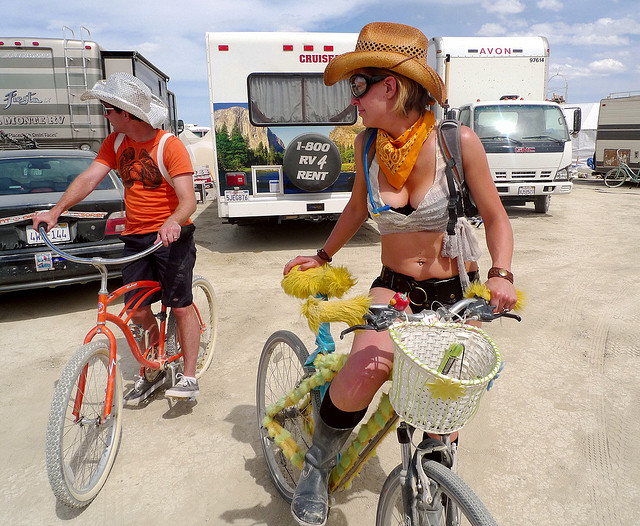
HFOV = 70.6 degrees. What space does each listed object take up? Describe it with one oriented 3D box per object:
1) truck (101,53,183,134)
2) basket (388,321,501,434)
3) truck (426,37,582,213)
[{"bbox_3d":[-4.066,-3.660,10.311,0.827,1.500,2.630,1,11,-1],"label":"truck"},{"bbox_3d":[0.413,0.382,1.567,0.292,0.281,0.344,-4,21,-30],"label":"basket"},{"bbox_3d":[5.305,-4.040,15.362,3.118,5.489,9.077,0,5,4],"label":"truck"}]
